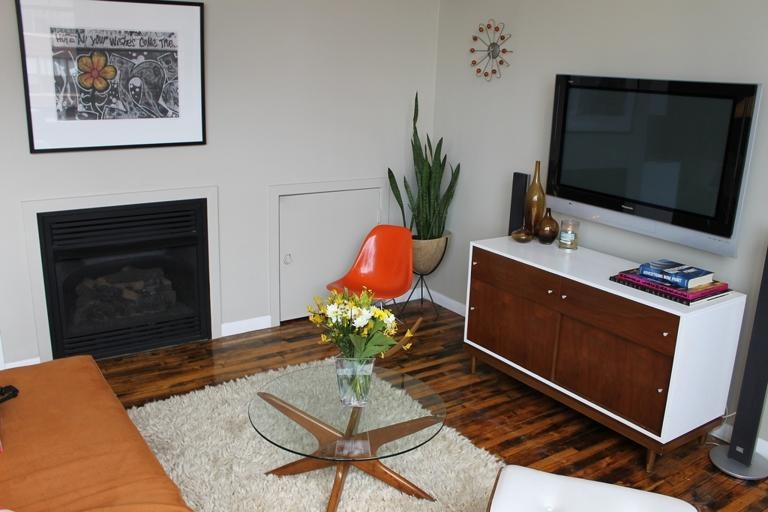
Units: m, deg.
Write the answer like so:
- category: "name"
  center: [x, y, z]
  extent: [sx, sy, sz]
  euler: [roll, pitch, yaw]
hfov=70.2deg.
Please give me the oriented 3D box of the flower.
- category: "flower"
  center: [-0.163, 0.347, 2.981]
  extent: [0.488, 0.401, 0.222]
  euler: [6, 21, 23]

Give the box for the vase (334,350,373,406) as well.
- category: "vase"
  center: [-0.173, 0.649, 3.065]
  extent: [0.252, 0.334, 0.242]
  euler: [-1, 6, -17]

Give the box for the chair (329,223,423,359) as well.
- category: "chair"
  center: [-0.090, 0.249, 4.606]
  extent: [0.657, 0.916, 0.677]
  euler: [7, 15, 21]

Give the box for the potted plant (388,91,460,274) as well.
- category: "potted plant"
  center: [0.379, -0.604, 5.115]
  extent: [0.543, 1.749, 0.521]
  euler: [-16, 23, -34]

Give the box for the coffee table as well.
- category: "coffee table"
  center: [-0.225, 0.867, 2.976]
  extent: [0.887, 0.368, 0.895]
  euler: [-7, 21, -22]

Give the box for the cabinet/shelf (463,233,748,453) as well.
- category: "cabinet/shelf"
  center: [1.442, 0.576, 3.986]
  extent: [0.629, 1.030, 1.798]
  euler: [-6, 16, -30]
